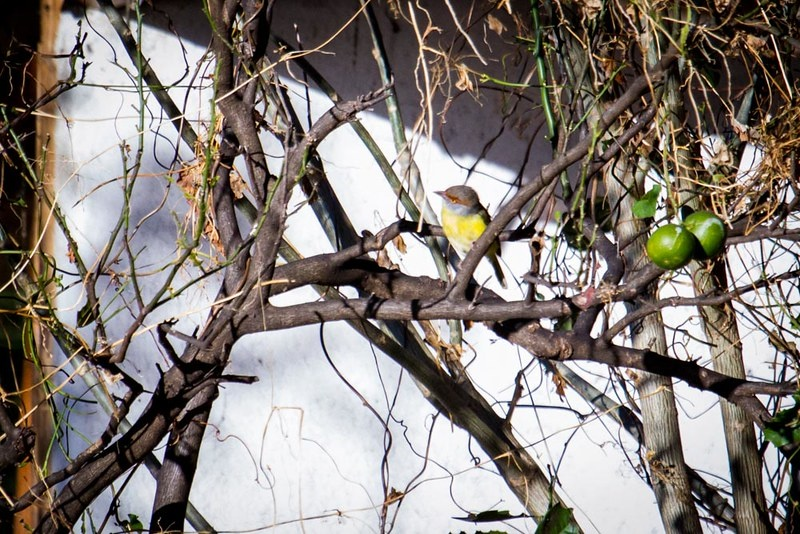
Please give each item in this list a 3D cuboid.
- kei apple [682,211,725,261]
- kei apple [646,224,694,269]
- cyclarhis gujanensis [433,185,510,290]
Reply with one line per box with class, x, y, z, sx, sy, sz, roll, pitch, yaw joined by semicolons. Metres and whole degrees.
kei apple;1.126;-0.120;4.557;0.152;0.146;0.209;-5;-81;-52
kei apple;0.998;-0.079;4.593;0.152;0.157;0.213;-15;-67;-36
cyclarhis gujanensis;0.349;-0.141;5.686;0.390;0.190;0.503;-8;-84;-44
